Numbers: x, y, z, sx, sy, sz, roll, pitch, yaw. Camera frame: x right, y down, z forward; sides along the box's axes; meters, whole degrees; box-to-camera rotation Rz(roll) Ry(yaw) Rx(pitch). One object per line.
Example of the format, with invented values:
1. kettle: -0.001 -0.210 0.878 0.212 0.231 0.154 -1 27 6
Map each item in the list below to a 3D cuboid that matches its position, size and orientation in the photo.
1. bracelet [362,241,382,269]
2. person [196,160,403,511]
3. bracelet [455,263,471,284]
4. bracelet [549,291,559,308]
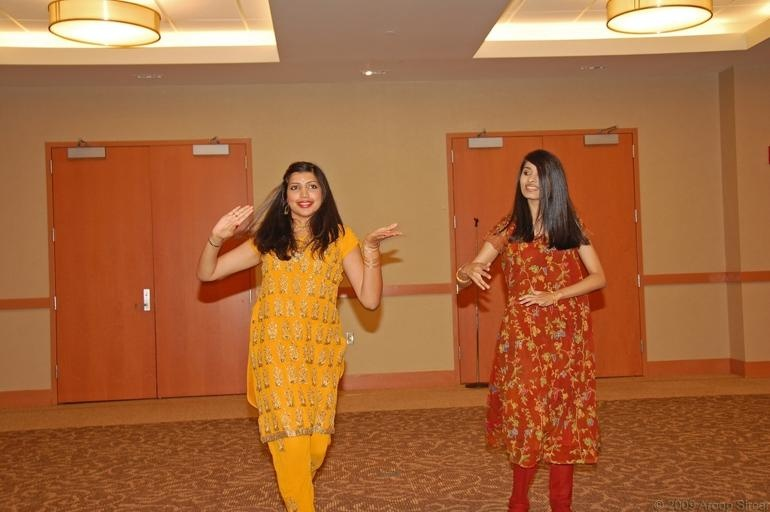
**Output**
1. bracelet: -0.106 -0.012 5.018 0.182 0.249 0.184 2 8 6
2. person: -0.705 0.608 5.036 1.429 2.474 0.477 -2 1 -4
3. bracelet: 0.666 0.152 5.387 0.144 0.164 0.135 4 -7 26
4. bracelet: 1.364 0.345 5.066 0.073 0.096 0.042 9 3 22
